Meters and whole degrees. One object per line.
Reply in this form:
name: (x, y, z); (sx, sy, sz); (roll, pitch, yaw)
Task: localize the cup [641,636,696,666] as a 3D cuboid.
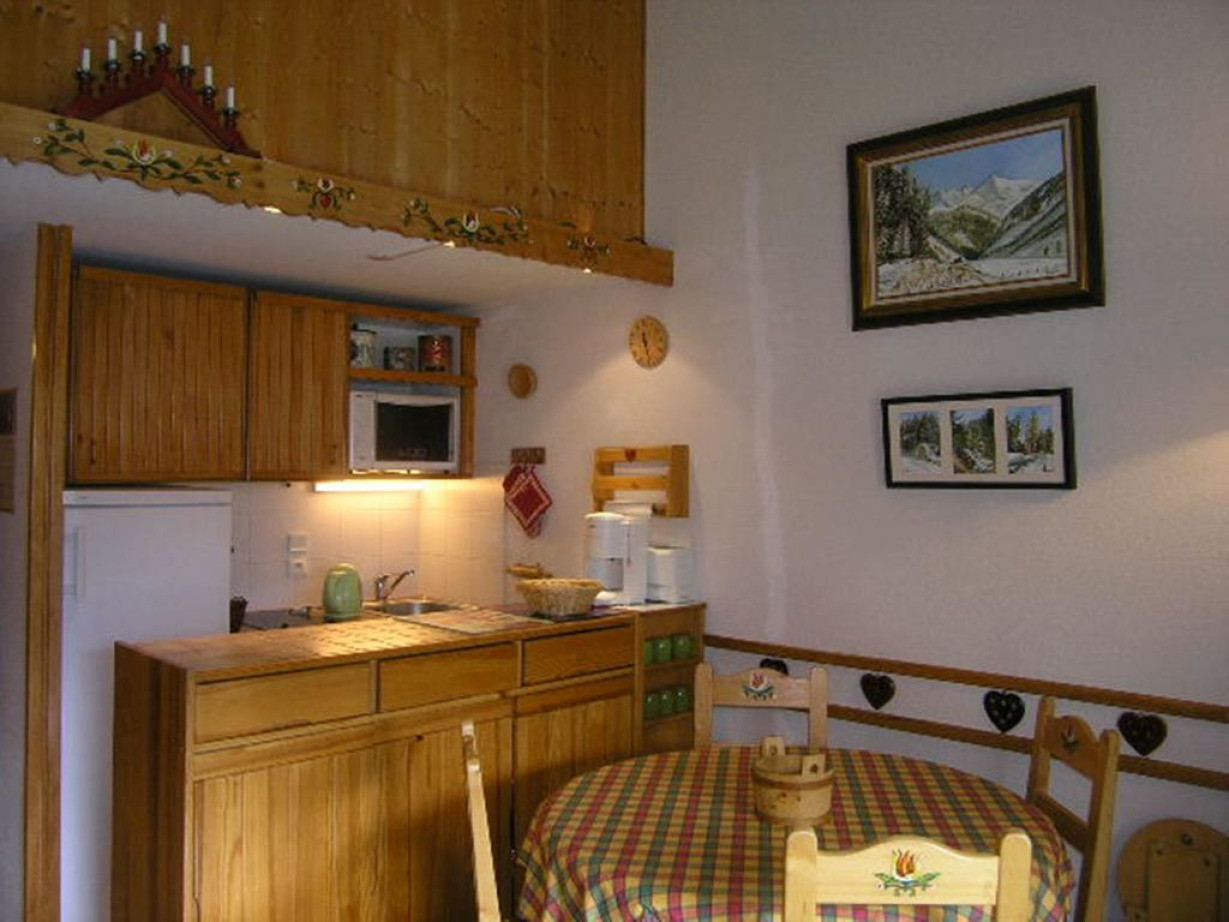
cup: (0.258, 0.854, 4.354); (0.273, 0.118, 0.055); (1, -1, -28)

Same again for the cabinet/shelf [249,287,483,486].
cabinet/shelf: (-1.286, -0.346, 5.009); (0.489, 0.906, 1.285); (-1, -1, 34)

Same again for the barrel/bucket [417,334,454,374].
barrel/bucket: (-0.953, -0.580, 5.315); (0.184, 0.232, 0.188); (1, 2, 0)

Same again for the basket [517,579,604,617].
basket: (-0.236, 0.592, 4.172); (0.353, 0.147, 0.302); (0, -1, -2)

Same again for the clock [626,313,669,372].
clock: (0.166, -0.556, 4.567); (0.230, 0.253, 0.020); (-1, -1, 39)

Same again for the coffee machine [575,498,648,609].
coffee machine: (0.020, 0.431, 4.321); (0.347, 0.558, 0.316); (2, -3, -19)

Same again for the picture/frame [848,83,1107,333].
picture/frame: (1.395, -0.938, 3.603); (0.927, 0.855, 0.077); (-4, -3, 38)

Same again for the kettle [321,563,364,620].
kettle: (-1.160, 0.569, 4.268); (0.187, 0.229, 0.196); (3, 3, 37)
